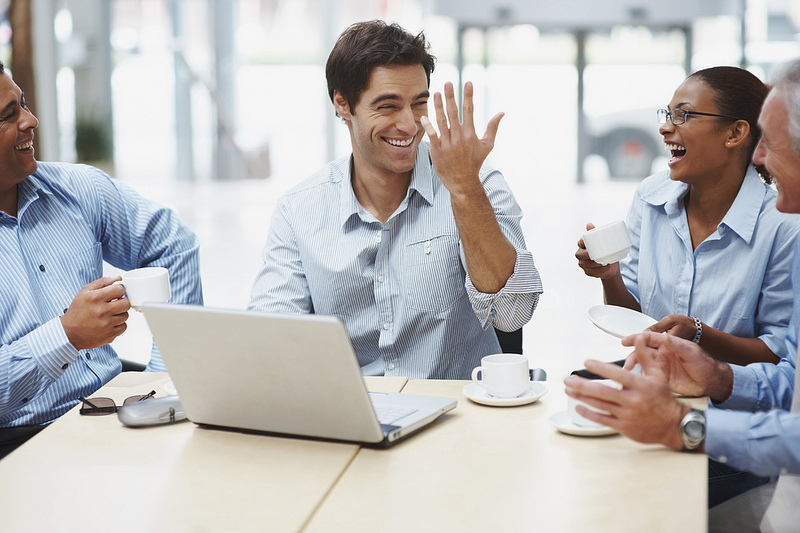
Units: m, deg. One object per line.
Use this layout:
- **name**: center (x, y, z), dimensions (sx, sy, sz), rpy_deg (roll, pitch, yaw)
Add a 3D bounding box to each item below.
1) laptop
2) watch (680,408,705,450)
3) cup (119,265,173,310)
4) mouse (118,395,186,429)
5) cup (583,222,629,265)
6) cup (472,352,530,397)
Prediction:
- **laptop**: center (-0.353, 0.287, 2.180), dimensions (0.507, 0.301, 0.487), rpy_deg (1, 6, 28)
- **watch**: center (0.759, 0.428, 2.155), dimensions (0.069, 0.102, 0.095), rpy_deg (3, 0, 2)
- **cup**: center (-0.721, 0.058, 2.373), dimensions (0.132, 0.094, 0.129), rpy_deg (0, 3, 0)
- **mouse**: center (-0.702, 0.410, 2.381), dimensions (0.137, 0.048, 0.095), rpy_deg (-1, 3, -14)
- **cup**: center (0.671, -0.079, 2.756), dimensions (0.136, 0.121, 0.143), rpy_deg (-22, 11, 4)
- **cup**: center (0.299, 0.319, 2.420), dimensions (0.138, 0.089, 0.105), rpy_deg (-4, -1, 2)
